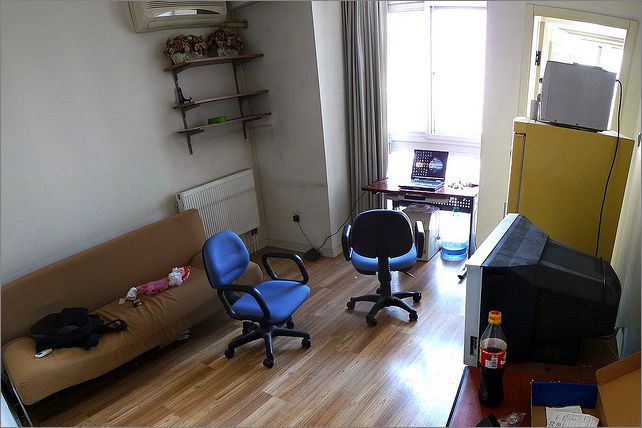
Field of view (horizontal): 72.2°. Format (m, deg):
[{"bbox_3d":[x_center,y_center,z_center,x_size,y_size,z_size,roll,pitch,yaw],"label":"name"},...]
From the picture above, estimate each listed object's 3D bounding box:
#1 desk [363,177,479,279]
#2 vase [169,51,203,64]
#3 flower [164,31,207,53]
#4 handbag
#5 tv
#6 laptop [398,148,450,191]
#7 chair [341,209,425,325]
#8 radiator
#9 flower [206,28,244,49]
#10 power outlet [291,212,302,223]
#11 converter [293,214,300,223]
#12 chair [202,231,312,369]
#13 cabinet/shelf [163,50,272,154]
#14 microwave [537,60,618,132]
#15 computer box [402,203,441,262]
[{"bbox_3d":[1.135,0.151,5.225,1.439,0.969,0.755,-2,15,15],"label":"desk"},{"bbox_3d":[-1.411,-1.644,4.600,0.201,0.068,0.171,-1,15,3],"label":"vase"},{"bbox_3d":[-1.409,-1.772,4.604,0.285,0.135,0.304,17,23,42],"label":"flower"},{"bbox_3d":[-2.160,0.911,3.727,0.481,0.175,0.417,2,12,18],"label":"handbag"},{"bbox_3d":[1.229,0.457,2.593,0.788,0.601,0.815,3,23,26],"label":"tv"},{"bbox_3d":[1.195,-0.530,5.082,0.503,0.454,0.527,10,24,32],"label":"laptop"},{"bbox_3d":[0.607,0.442,4.334,0.753,1.127,0.808,6,17,39],"label":"chair"},{"bbox_3d":[-1.222,-0.127,5.018,0.103,0.574,0.765,8,31,40],"label":"radiator"},{"bbox_3d":[-1.073,-1.923,4.896,0.330,0.146,0.245,-1,20,-27],"label":"flower"},{"bbox_3d":[-0.313,0.042,5.490,0.092,0.131,0.053,1,2,1],"label":"power outlet"},{"bbox_3d":[-0.314,0.052,5.486,0.070,0.100,0.034,2,3,7],"label":"converter"},{"bbox_3d":[-0.537,0.729,4.006,0.890,1.020,0.846,5,18,21],"label":"chair"},{"bbox_3d":[-1.211,-1.306,4.990,1.029,0.896,0.355,-28,16,-40],"label":"cabinet/shelf"},{"bbox_3d":[1.886,-0.889,3.429,0.525,0.516,0.535,10,7,20],"label":"microwave"},{"bbox_3d":[1.170,0.203,5.216,0.429,0.545,0.448,5,13,21],"label":"computer box"}]
